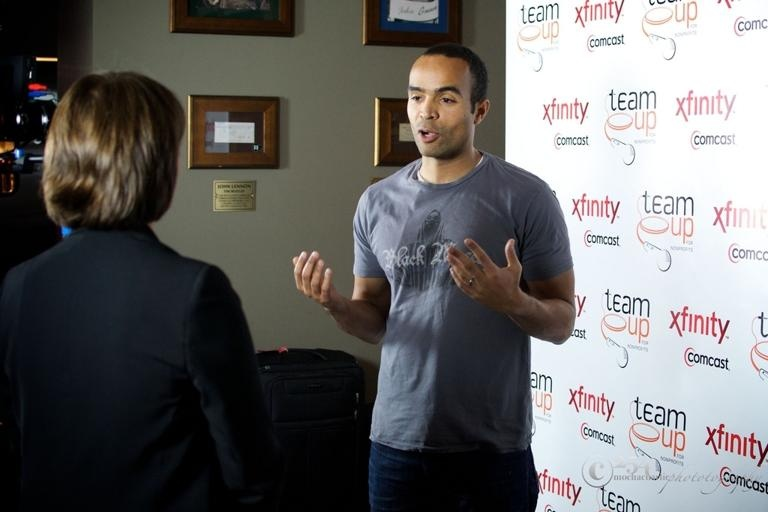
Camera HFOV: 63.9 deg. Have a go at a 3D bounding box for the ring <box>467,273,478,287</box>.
[{"bbox_3d":[0.214,0.061,1.492,0.014,0.028,0.027,1,14,4],"label":"ring"}]

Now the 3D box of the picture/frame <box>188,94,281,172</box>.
[{"bbox_3d":[-0.755,-0.615,3.029,0.318,0.307,0.024,0,-1,-8],"label":"picture/frame"}]
